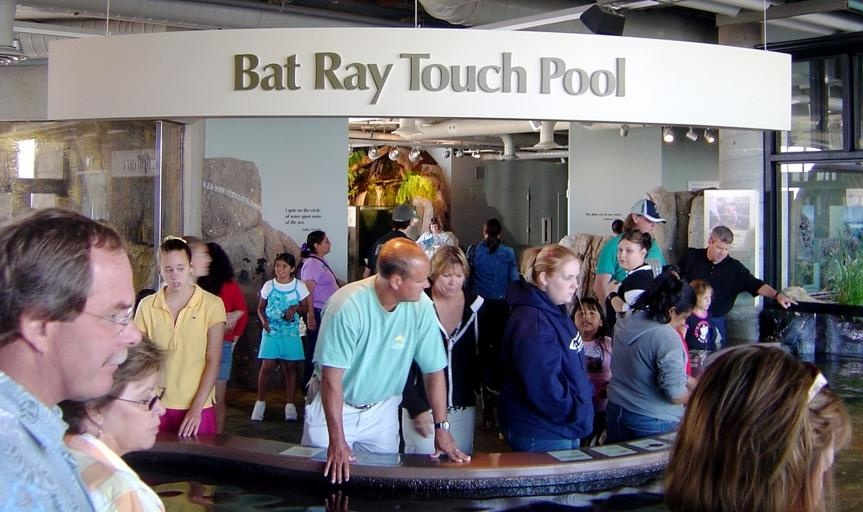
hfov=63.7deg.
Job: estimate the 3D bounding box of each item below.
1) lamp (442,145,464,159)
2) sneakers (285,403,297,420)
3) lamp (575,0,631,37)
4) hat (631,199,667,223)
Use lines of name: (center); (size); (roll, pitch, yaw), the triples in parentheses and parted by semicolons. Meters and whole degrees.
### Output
lamp: (0.650, -2.969, 20.094); (0.589, 0.283, 0.900); (-1, 5, 1)
sneakers: (-1.464, 1.633, 7.294); (0.131, 0.160, 0.165); (1, -10, -9)
lamp: (1.647, -2.248, 6.676); (0.411, 0.321, 0.333); (-1, 5, 1)
hat: (2.135, -0.463, 7.062); (0.398, 0.221, 0.257); (15, 8, 43)
